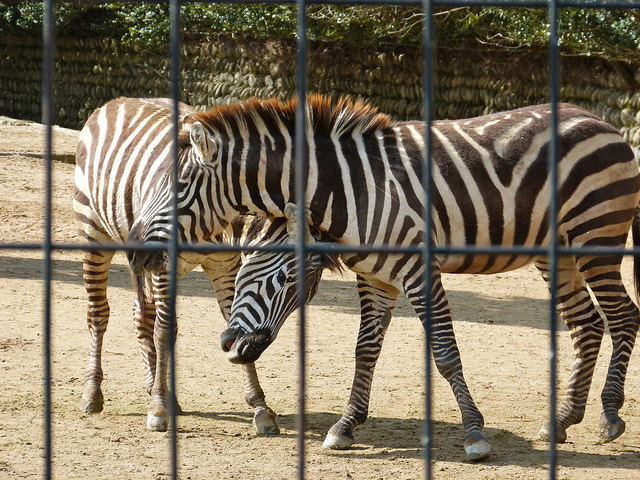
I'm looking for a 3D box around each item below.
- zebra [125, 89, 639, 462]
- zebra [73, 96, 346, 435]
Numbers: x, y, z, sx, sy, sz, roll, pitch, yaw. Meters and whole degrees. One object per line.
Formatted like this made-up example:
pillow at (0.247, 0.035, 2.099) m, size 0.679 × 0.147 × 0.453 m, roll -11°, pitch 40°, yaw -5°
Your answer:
zebra at (0.732, 0.221, 10.619) m, size 3.827 × 2.797 × 1.173 m, roll 6°, pitch 9°, yaw 4°
zebra at (-0.962, 0.218, 10.831) m, size 1.115 × 2.830 × 4.096 m, roll -1°, pitch 3°, yaw -36°
